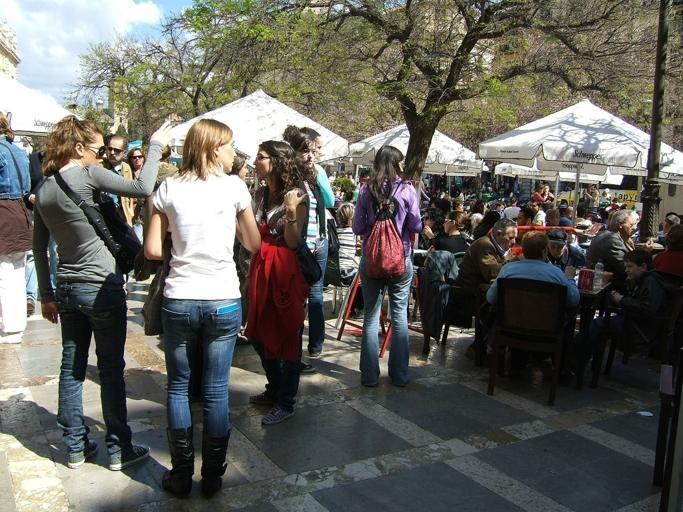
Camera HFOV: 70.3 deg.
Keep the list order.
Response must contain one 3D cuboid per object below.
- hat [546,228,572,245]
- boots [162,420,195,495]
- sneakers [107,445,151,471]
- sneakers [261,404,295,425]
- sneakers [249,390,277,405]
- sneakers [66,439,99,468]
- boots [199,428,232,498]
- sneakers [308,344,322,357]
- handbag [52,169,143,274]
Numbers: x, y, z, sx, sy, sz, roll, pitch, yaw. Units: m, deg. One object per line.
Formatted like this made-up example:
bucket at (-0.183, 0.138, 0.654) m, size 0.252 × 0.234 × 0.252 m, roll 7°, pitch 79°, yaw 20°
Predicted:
hat at (3.440, -0.304, 7.711) m, size 0.288 × 0.197 × 0.391 m, roll 7°, pitch -11°, yaw 34°
boots at (-1.026, 1.282, 3.053) m, size 0.209 × 0.478 × 0.186 m, roll 2°, pitch 8°, yaw -7°
sneakers at (-1.438, 1.400, 3.364) m, size 0.113 × 0.118 × 0.313 m, roll 6°, pitch 10°, yaw 32°
sneakers at (-0.524, 1.353, 4.096) m, size 0.098 × 0.109 × 0.294 m, roll 12°, pitch 7°, yaw 42°
sneakers at (-0.693, 1.303, 4.420) m, size 0.287 × 0.117 × 0.099 m, roll 4°, pitch -2°, yaw 8°
sneakers at (-1.775, 1.376, 3.344) m, size 0.191 × 0.129 × 0.191 m, roll -1°, pitch 9°, yaw -29°
boots at (-0.798, 1.317, 3.073) m, size 0.153 × 0.430 × 0.140 m, roll 1°, pitch 8°, yaw -16°
sneakers at (-0.305, 1.130, 5.673) m, size 0.093 × 0.149 × 0.149 m, roll -4°, pitch 46°, yaw 12°
handbag at (-1.569, -0.200, 3.174) m, size 0.503 × 0.670 × 0.193 m, roll -1°, pitch 9°, yaw -30°
